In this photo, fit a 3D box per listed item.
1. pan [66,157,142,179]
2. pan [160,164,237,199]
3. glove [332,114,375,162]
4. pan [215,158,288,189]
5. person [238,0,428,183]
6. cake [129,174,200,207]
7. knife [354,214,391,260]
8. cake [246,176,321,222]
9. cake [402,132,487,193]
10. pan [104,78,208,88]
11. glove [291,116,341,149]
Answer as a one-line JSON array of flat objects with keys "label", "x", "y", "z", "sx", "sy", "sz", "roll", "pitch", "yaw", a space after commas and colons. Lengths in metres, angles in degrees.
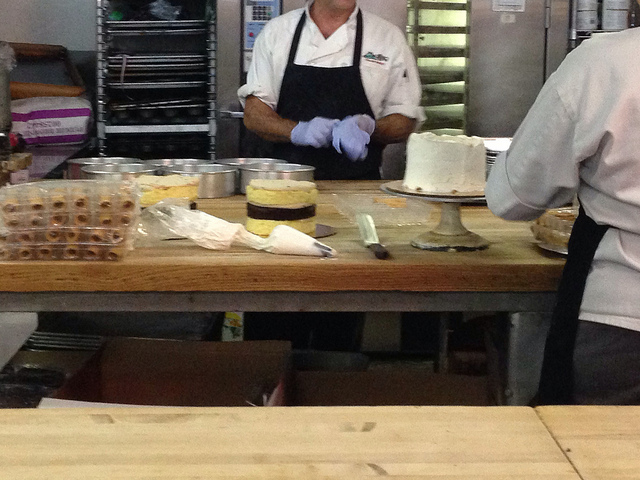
[{"label": "pan", "x": -0.784, "y": -0.262, "z": 2.700, "sx": 0.310, "sy": 0.072, "sz": 0.235, "roll": -2, "pitch": 16, "yaw": -14}, {"label": "pan", "x": -0.430, "y": -0.251, "z": 2.858, "sx": 0.301, "sy": 0.127, "sz": 0.305, "roll": 0, "pitch": 13, "yaw": -22}, {"label": "glove", "x": 0.135, "y": -0.420, "z": 3.031, "sx": 0.170, "sy": 0.153, "sz": 0.310, "roll": 0, "pitch": 18, "yaw": 3}, {"label": "pan", "x": -0.253, "y": -0.239, "z": 2.685, "sx": 0.211, "sy": 0.057, "sz": 0.193, "roll": 0, "pitch": 3, "yaw": -2}, {"label": "person", "x": 0.003, "y": -0.660, "z": 3.360, "sx": 0.866, "sy": 0.800, "sz": 0.847, "roll": 4, "pitch": 19, "yaw": 14}, {"label": "cake", "x": -0.474, "y": -0.173, "z": 2.318, "sx": 0.172, "sy": 0.103, "sz": 0.188, "roll": 11, "pitch": 14, "yaw": 35}, {"label": "knife", "x": 0.148, "y": -0.017, "z": 2.145, "sx": 0.036, "sy": 0.201, "sz": 0.024, "roll": -39, "pitch": 50, "yaw": -7}, {"label": "cake", "x": -0.117, "y": -0.112, "z": 2.197, "sx": 0.236, "sy": 0.119, "sz": 0.224, "roll": -5, "pitch": 17, "yaw": -32}, {"label": "cake", "x": 0.343, "y": -0.221, "z": 2.117, "sx": 0.208, "sy": 0.107, "sz": 0.188, "roll": -1, "pitch": 8, "yaw": 1}, {"label": "pan", "x": -0.907, "y": -0.862, "z": 4.101, "sx": 0.565, "sy": 0.052, "sz": 0.091, "roll": -3, "pitch": 18, "yaw": -6}, {"label": "glove", "x": -0.022, "y": -0.448, "z": 3.142, "sx": 0.217, "sy": 0.131, "sz": 0.160, "roll": 0, "pitch": 17, "yaw": -9}]
